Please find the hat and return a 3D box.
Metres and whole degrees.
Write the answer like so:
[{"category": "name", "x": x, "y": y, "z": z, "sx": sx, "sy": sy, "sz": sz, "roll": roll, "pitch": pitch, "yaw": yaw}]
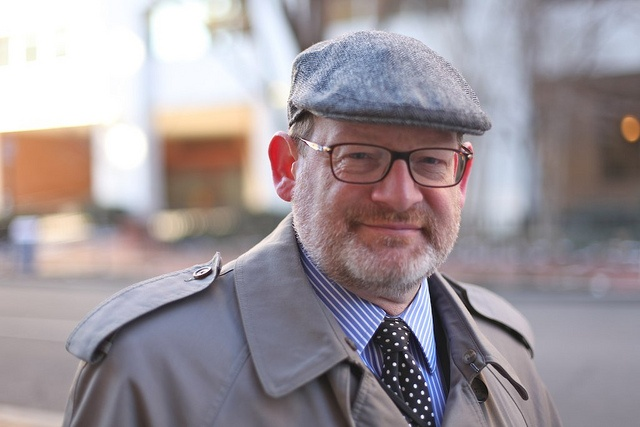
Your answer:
[{"category": "hat", "x": 0.225, "y": -0.575, "z": 3.914, "sx": 0.541, "sy": 0.305, "sz": 0.615, "roll": 2, "pitch": 3, "yaw": -36}]
